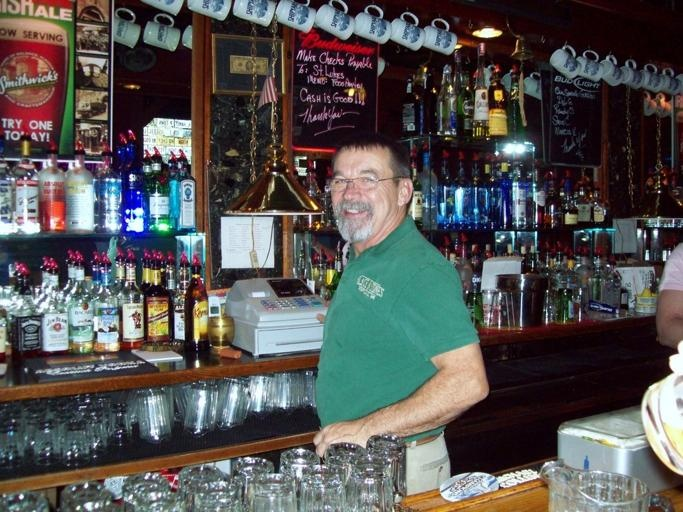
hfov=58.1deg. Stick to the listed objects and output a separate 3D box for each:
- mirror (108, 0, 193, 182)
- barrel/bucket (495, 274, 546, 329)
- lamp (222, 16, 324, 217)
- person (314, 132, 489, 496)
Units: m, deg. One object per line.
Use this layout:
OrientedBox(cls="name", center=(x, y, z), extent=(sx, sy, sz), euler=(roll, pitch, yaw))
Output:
OrientedBox(cls="mirror", center=(-1.548, -1.391, 5.051), extent=(0.873, 1.261, 0.401), euler=(-3, 30, -16))
OrientedBox(cls="barrel/bucket", center=(1.180, 0.287, 3.950), extent=(0.306, 0.349, 0.307), euler=(0, -4, 0))
OrientedBox(cls="lamp", center=(-0.385, -0.831, 3.469), extent=(0.513, 1.229, 1.087), euler=(-2, 4, -8))
OrientedBox(cls="person", center=(0.200, 0.240, 2.439), extent=(0.617, 1.470, 0.798), euler=(-2, 4, -4))
